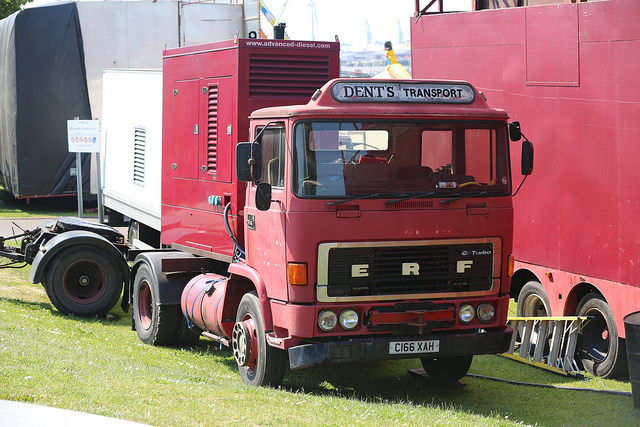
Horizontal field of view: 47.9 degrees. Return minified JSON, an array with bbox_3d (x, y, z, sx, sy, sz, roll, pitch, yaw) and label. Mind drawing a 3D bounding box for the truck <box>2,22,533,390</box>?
[{"bbox_3d":[-0.750,-0.100,12.504,4.510,3.942,7.308,-1,4,-28],"label":"truck"}]
